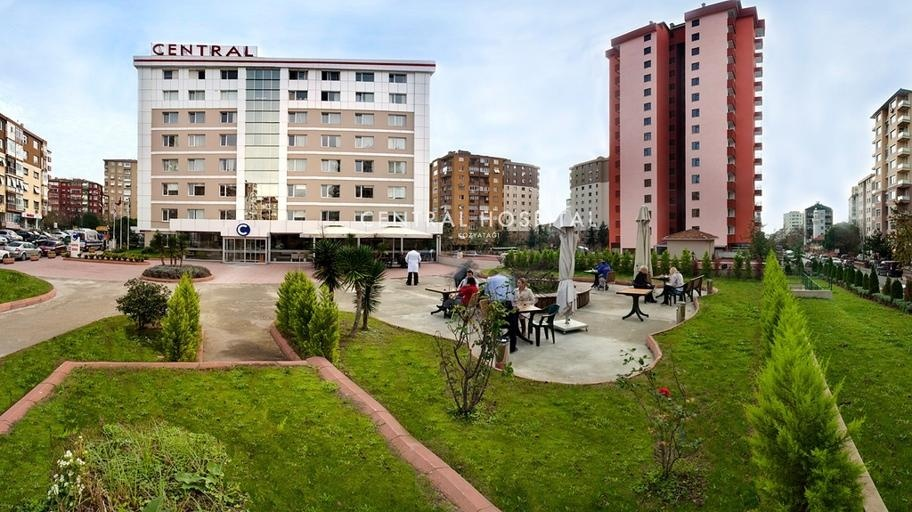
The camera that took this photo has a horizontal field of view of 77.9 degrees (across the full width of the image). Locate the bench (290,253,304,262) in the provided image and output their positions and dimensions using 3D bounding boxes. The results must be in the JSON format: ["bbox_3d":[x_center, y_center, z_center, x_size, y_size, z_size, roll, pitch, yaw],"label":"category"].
[{"bbox_3d":[-13.403,0.208,47.195,0.761,1.013,0.839,4,17,7],"label":"bench"}]

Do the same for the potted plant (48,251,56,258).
[{"bbox_3d":[-32.627,-0.080,45.272,0.413,0.378,0.542,2,-1,-17],"label":"potted plant"}]

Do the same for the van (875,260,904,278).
[{"bbox_3d":[35.377,1.143,45.901,1.231,1.000,2.091,1,9,27],"label":"van"}]

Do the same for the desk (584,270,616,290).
[{"bbox_3d":[7.994,1.475,32.123,1.479,0.929,1.488,3,5,37],"label":"desk"}]

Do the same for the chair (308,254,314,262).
[{"bbox_3d":[-8.898,0.180,34.186,0.332,0.413,0.603,-6,9,-9],"label":"chair"}]

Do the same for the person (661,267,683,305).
[{"bbox_3d":[10.276,1.420,26.715,1.097,1.708,1.064,-2,7,15],"label":"person"}]

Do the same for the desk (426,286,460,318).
[{"bbox_3d":[-0.223,2.016,24.606,1.229,1.107,1.208,-3,10,-33],"label":"desk"}]

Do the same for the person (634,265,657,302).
[{"bbox_3d":[8.931,1.274,26.821,1.079,1.596,0.816,10,8,20],"label":"person"}]

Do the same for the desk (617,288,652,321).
[{"bbox_3d":[7.844,2.093,24.933,1.444,1.287,1.466,1,3,16],"label":"desk"}]
